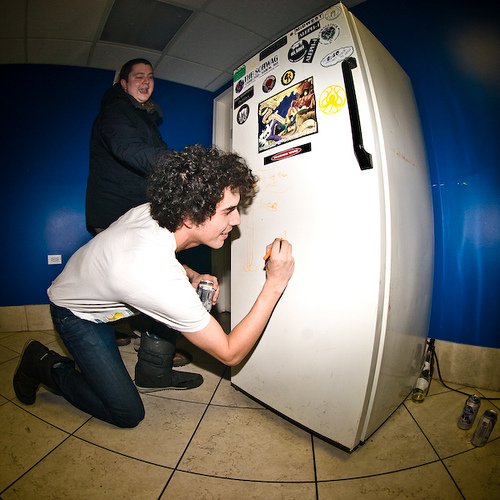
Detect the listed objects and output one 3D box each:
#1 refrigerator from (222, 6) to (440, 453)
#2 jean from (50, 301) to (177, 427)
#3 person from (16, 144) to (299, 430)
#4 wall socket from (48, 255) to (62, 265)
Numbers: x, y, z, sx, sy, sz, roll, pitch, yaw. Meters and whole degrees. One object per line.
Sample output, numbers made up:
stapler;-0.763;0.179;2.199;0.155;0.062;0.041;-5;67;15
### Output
refrigerator;0.332;-0.103;1.829;0.803;1.762;0.760;6;18;41
jean;-0.670;0.488;1.951;0.488;0.621;0.454;-7;4;-18
person;-0.462;0.156;1.786;1.139;1.308;0.745;7;19;-5
wall socket;-1.456;0.073;2.877;0.064;0.060;0.010;-1;7;-21
